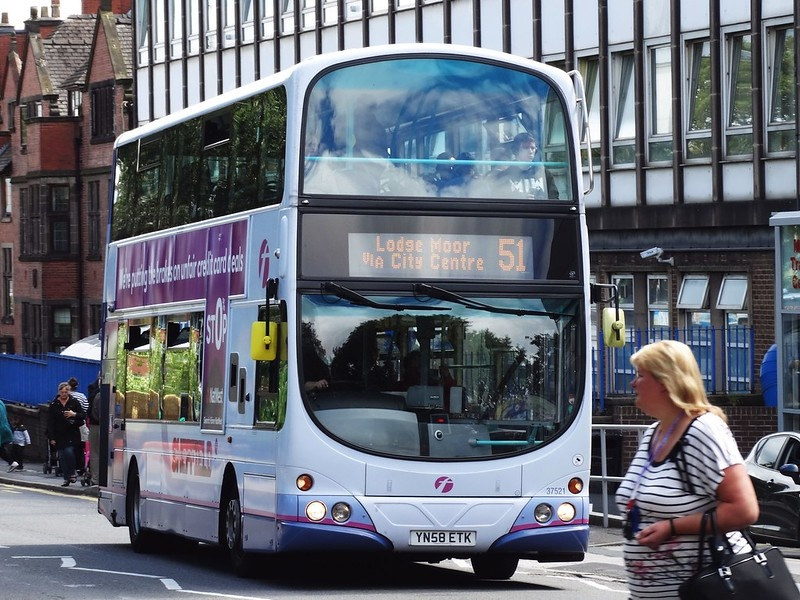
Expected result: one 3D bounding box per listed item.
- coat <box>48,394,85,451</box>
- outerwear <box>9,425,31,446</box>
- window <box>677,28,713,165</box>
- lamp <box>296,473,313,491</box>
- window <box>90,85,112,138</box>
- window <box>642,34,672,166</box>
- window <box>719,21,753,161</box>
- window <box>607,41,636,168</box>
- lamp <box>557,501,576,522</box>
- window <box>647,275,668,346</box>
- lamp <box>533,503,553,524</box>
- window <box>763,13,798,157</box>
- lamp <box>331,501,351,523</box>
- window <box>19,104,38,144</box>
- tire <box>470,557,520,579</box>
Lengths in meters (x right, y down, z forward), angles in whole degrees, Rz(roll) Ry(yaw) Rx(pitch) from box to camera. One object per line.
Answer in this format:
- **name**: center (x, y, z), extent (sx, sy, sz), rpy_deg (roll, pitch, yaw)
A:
- **coat**: center (-7.502, 2.716, 29.466), extent (1.048, 1.552, 0.828), rpy_deg (-3, 9, -14)
- **outerwear**: center (-10.414, 3.726, 35.924), extent (0.749, 0.721, 0.416), rpy_deg (3, -10, -7)
- **window**: center (6.419, -4.375, 27.933), extent (0.260, 3.028, 0.823), rpy_deg (-13, 12, -42)
- **lamp**: center (-0.911, 1.744, 12.624), extent (0.142, 0.161, 0.151), rpy_deg (10, 9, -2)
- **window**: center (-12.009, -7.656, 52.774), extent (0.115, 2.542, 1.991), rpy_deg (0, 3, -27)
- **window**: center (5.810, -4.385, 28.874), extent (0.136, 2.750, 0.638), rpy_deg (-3, 0, 27)
- **window**: center (7.021, -4.241, 27.054), extent (0.137, 2.557, 0.720), rpy_deg (2, -5, -39)
- **window**: center (5.213, -4.336, 29.472), extent (0.848, 3.175, 0.263), rpy_deg (4, 6, 33)
- **lamp**: center (1.670, 2.085, 12.982), extent (0.164, 0.185, 0.051), rpy_deg (5, -2, -16)
- **window**: center (5.671, 0.156, 28.564), extent (0.716, 1.440, 0.153), rpy_deg (1, -6, -25)
- **lamp**: center (1.426, 2.096, 12.939), extent (0.160, 0.175, 0.090), rpy_deg (-5, 11, -21)
- **window**: center (7.675, -4.194, 26.248), extent (0.164, 2.625, 0.681), rpy_deg (2, -4, -35)
- **lamp**: center (-0.558, 2.034, 12.601), extent (0.173, 0.195, 0.099), rpy_deg (-12, 5, -6)
- **window**: center (-16.204, -7.636, 57.086), extent (0.231, 2.323, 1.799), rpy_deg (9, -9, -29)
- **tire**: center (1.049, 2.891, 14.312), extent (0.353, 0.269, 0.350), rpy_deg (2, -5, 4)
